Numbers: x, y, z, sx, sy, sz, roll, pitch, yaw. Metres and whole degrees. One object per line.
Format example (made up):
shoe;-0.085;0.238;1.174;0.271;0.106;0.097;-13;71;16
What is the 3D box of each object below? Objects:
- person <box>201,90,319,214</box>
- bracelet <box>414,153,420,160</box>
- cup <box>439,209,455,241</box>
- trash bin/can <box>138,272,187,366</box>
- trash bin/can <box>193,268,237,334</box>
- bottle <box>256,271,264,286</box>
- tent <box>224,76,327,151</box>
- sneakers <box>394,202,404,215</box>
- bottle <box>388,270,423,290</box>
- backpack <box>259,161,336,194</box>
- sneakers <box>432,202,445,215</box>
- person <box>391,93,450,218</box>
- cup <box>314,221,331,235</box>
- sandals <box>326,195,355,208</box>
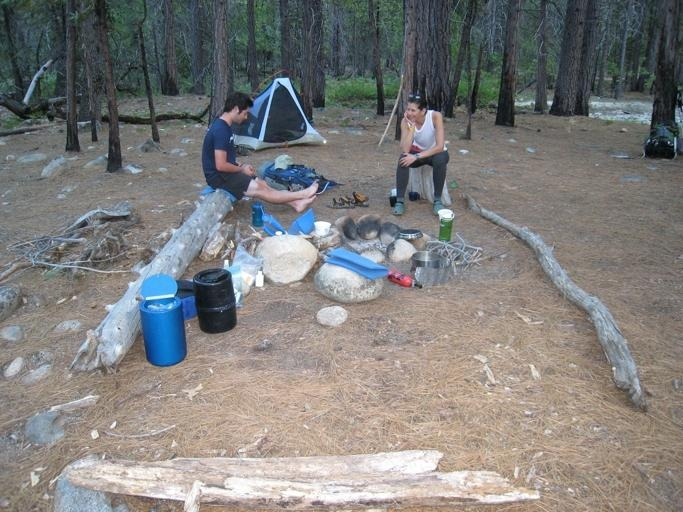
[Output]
person;-1.098;-1.277;6.627;1.787;1.377;0.718;6;19;-34
bracelet;0.952;-1.297;6.548;0.069;0.079;0.091;5;13;5
cup;1.109;-0.333;5.475;0.145;0.372;0.197;4;20;9
trash bin/can;-1.376;0.483;3.890;0.291;0.622;0.390;-7;21;-20
trash bin/can;-1.052;0.369;4.207;0.303;0.493;0.278;-8;21;-23
bottle;-0.790;0.210;4.856;0.062;0.152;0.088;8;21;20
tent;-1.606;-3.057;11.100;2.257;1.166;2.138;-21;39;-32
sneakers;0.728;-0.624;6.588;0.123;0.148;0.214;5;18;13
bottle;0.580;0.225;4.934;0.419;0.097;0.118;14;45;30
backpack;-0.784;-1.208;7.612;0.869;0.237;0.605;14;24;17
sneakers;1.245;-0.640;6.663;0.152;0.116;0.319;-1;11;4
person;1.050;-1.352;6.687;0.667;1.479;0.796;4;20;8
cup;-0.206;-0.317;5.530;0.168;0.093;0.144;-5;24;-17
sandals;-0.012;-0.731;6.898;0.233;0.115;0.256;-5;24;-3
